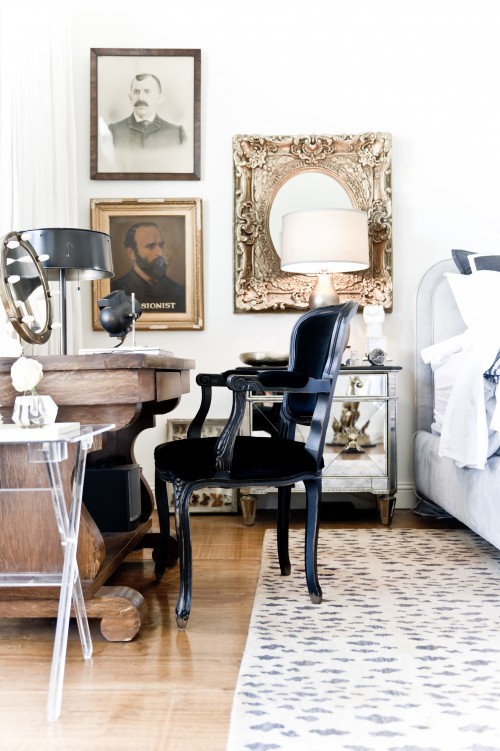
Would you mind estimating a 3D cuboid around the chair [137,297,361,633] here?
[{"bbox_3d":[-0.106,0.221,2.242,0.784,1.154,0.748,1,-2,-13],"label":"chair"}]

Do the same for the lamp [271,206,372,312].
[{"bbox_3d":[0.337,-0.495,3.081,0.408,0.486,0.407,0,1,-23],"label":"lamp"}]

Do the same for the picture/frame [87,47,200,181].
[{"bbox_3d":[-0.499,-1.265,3.225,0.616,0.736,0.029,0,3,1],"label":"picture/frame"}]

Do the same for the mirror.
[{"bbox_3d":[0.292,-0.717,3.111,1.003,1.160,0.130,0,0,3],"label":"mirror"}]

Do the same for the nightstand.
[{"bbox_3d":[0.295,0.266,3.182,0.947,0.936,0.601,0,-4,1],"label":"nightstand"}]
